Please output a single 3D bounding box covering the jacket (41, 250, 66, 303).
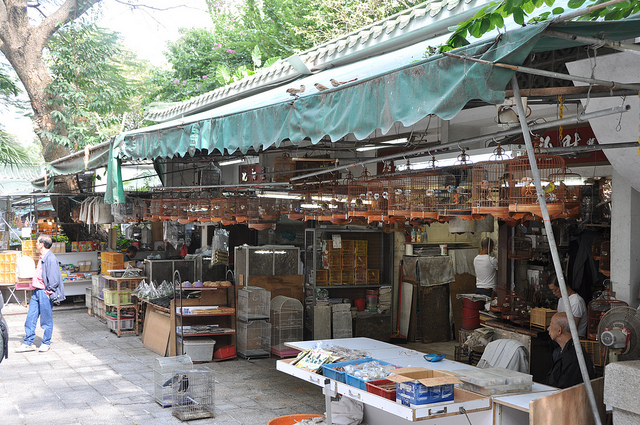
[{"bbox_3d":[-5.803,1.405,11.887,0.385,1.177,0.529,0,3,-10],"label":"jacket"}]

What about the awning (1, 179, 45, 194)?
[{"bbox_3d":[-9.377,-0.814,17.134,0.912,0.282,0.670,1,-6,-38],"label":"awning"}]

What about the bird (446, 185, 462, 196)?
[{"bbox_3d":[1.894,-0.304,7.648,0.134,0.058,0.169,4,-25,9],"label":"bird"}]

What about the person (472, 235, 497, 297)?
[{"bbox_3d":[3.559,1.148,11.614,0.476,1.176,1.502,2,3,18],"label":"person"}]

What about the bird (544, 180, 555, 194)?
[{"bbox_3d":[2.860,-0.313,6.749,0.103,0.163,0.274,2,3,25],"label":"bird"}]

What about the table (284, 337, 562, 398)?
[{"bbox_3d":[1.137,1.975,7.145,1.618,0.296,3.451,-1,2,-38],"label":"table"}]

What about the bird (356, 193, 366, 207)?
[{"bbox_3d":[0.666,-0.183,8.660,0.150,0.190,0.223,1,2,4],"label":"bird"}]

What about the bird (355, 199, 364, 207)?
[{"bbox_3d":[0.646,-0.144,8.575,0.093,0.084,0.090,1,-2,6],"label":"bird"}]

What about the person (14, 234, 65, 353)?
[{"bbox_3d":[-5.983,1.734,11.692,0.859,2.438,0.565,-1,4,-25],"label":"person"}]

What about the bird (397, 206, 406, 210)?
[{"bbox_3d":[1.190,-0.067,7.913,0.081,0.046,0.039,-1,-6,8],"label":"bird"}]

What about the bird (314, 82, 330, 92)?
[{"bbox_3d":[0.019,-1.409,6.123,0.185,0.102,0.064,-12,3,20],"label":"bird"}]

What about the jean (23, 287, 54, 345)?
[{"bbox_3d":[-6.107,2.273,11.815,0.551,1.342,0.628,-1,3,-27],"label":"jean"}]

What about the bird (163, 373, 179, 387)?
[{"bbox_3d":[-2.378,2.705,8.754,0.107,0.267,0.388,-2,4,-42],"label":"bird"}]

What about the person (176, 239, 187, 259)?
[{"bbox_3d":[-4.809,1.246,18.995,0.361,0.504,1.887,0,2,-15],"label":"person"}]

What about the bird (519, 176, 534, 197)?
[{"bbox_3d":[2.618,-0.329,6.884,0.231,0.261,0.218,2,-5,-3],"label":"bird"}]

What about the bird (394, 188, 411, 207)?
[{"bbox_3d":[1.242,-0.212,8.022,0.220,0.256,0.323,1,2,10],"label":"bird"}]

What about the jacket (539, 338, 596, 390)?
[{"bbox_3d":[3.046,1.874,6.649,0.448,0.636,0.769,3,4,18],"label":"jacket"}]

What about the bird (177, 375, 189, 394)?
[{"bbox_3d":[-2.144,2.700,8.583,0.115,0.241,0.146,2,3,23],"label":"bird"}]
